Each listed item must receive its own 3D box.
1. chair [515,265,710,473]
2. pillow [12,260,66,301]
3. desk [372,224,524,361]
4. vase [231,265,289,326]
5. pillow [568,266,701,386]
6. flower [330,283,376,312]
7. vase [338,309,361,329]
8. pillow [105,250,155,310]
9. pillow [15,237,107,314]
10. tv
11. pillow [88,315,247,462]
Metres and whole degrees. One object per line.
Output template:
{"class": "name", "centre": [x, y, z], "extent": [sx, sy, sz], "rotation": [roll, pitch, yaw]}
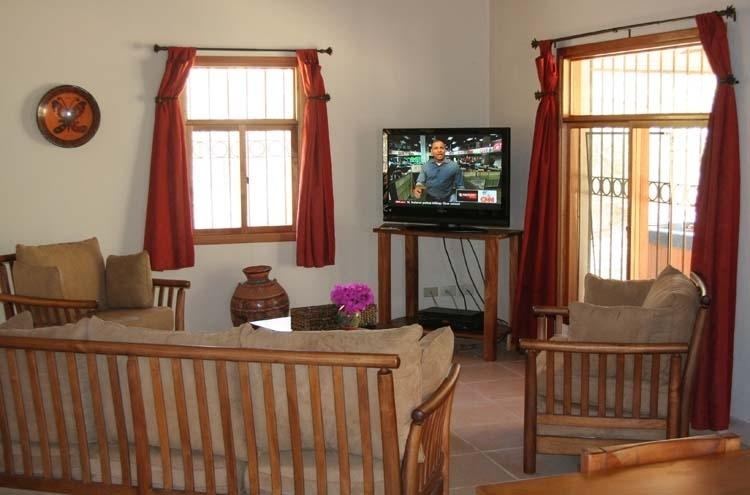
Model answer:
{"class": "chair", "centre": [1.549, 0.770, 4.282], "extent": [1.223, 1.137, 1.522], "rotation": [0, 1, 16]}
{"class": "pillow", "centre": [-2.790, 0.249, 5.165], "extent": [0.429, 0.332, 0.153], "rotation": [6, 7, 13]}
{"class": "desk", "centre": [0.683, 0.379, 6.486], "extent": [1.285, 1.184, 0.581], "rotation": [7, 16, 26]}
{"class": "vase", "centre": [-1.145, 0.567, 6.290], "extent": [0.573, 0.702, 0.575], "rotation": [-8, 11, -25]}
{"class": "pillow", "centre": [1.634, 0.423, 4.067], "extent": [0.704, 0.398, 1.086], "rotation": [-2, 1, 16]}
{"class": "flower", "centre": [-0.194, 0.415, 5.386], "extent": [0.237, 0.192, 0.283], "rotation": [-1, 9, 1]}
{"class": "vase", "centre": [-0.183, 0.619, 5.280], "extent": [0.203, 0.162, 0.200], "rotation": [0, 6, -27]}
{"class": "pillow", "centre": [-2.213, 0.323, 5.706], "extent": [0.479, 0.506, 0.180], "rotation": [-3, -1, 22]}
{"class": "pillow", "centre": [-2.695, 0.283, 5.522], "extent": [0.530, 0.638, 0.788], "rotation": [6, 8, 17]}
{"class": "tv", "centre": [0.732, -0.668, 6.197], "extent": [1.047, 0.741, 0.054], "rotation": [2, 4, 19]}
{"class": "pillow", "centre": [-0.953, 0.659, 3.470], "extent": [0.687, 0.911, 0.703], "rotation": [1, 9, 8]}
